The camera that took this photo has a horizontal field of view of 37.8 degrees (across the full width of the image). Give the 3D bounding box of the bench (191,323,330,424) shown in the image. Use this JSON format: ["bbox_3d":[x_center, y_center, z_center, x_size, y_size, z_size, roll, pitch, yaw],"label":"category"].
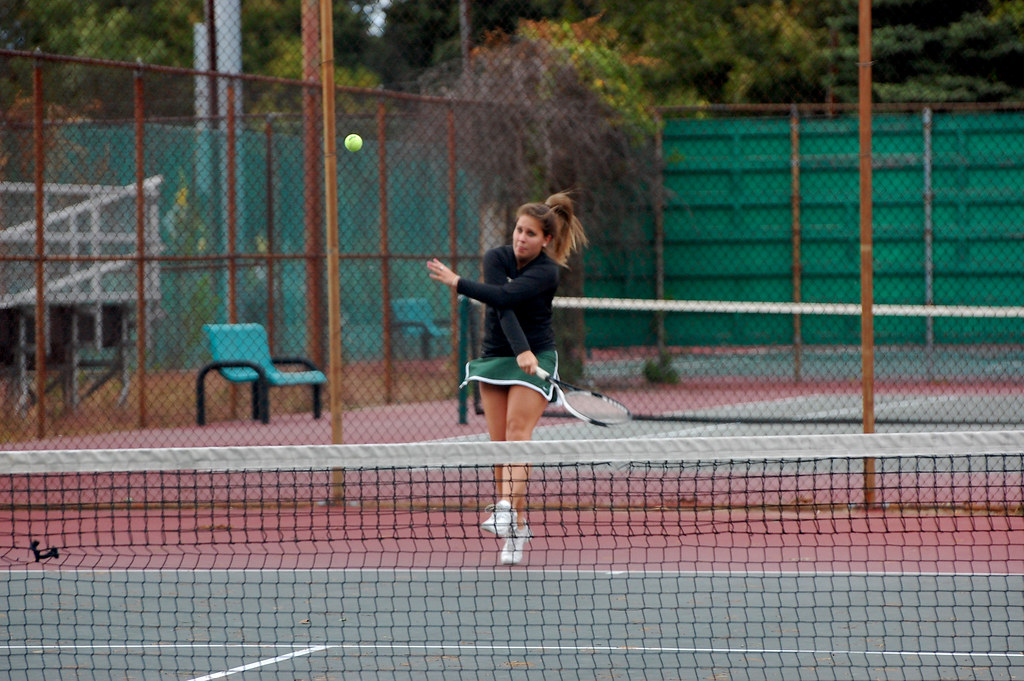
[{"bbox_3d":[-2.844,0.405,17.118,1.115,1.263,1.397,1,3,17],"label":"bench"}]

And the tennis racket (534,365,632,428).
[{"bbox_3d":[0.654,0.649,14.010,0.443,0.121,1.382,-19,25,-28],"label":"tennis racket"}]

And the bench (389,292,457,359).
[{"bbox_3d":[-1.266,-0.228,20.079,0.729,0.854,0.206,12,12,35],"label":"bench"}]

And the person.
[{"bbox_3d":[0.007,0.321,11.901,0.866,2.874,1.159,1,9,11],"label":"person"}]
